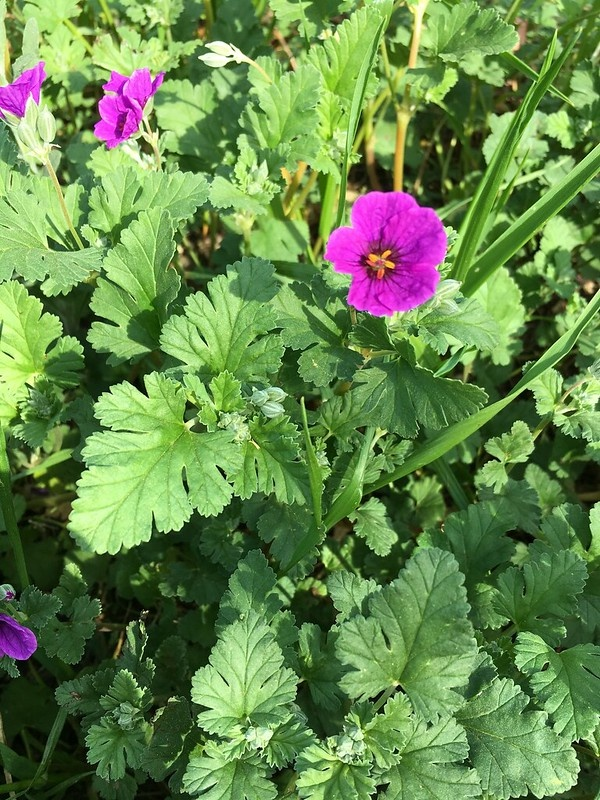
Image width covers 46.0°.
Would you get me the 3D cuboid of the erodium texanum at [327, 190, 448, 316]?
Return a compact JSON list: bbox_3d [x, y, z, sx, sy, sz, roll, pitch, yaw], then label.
[{"bbox_3d":[0.246,-0.396,2.022,0.345,0.351,0.174,26,5,3],"label":"erodium texanum"}]
